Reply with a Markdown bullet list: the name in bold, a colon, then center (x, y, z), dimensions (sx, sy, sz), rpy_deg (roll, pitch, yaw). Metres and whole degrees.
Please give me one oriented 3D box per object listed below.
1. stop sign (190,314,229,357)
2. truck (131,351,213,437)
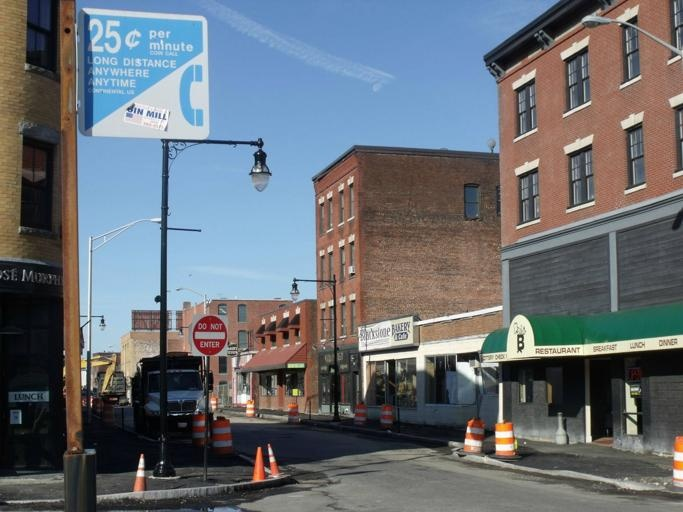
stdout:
- **stop sign**: center (-3.575, 2.114, 29.158), dimensions (0.916, 1.124, 0.664), rpy_deg (1, -13, -9)
- **truck**: center (-7.559, 6.169, 46.424), dimensions (2.893, 3.991, 8.160), rpy_deg (-2, -8, -15)
